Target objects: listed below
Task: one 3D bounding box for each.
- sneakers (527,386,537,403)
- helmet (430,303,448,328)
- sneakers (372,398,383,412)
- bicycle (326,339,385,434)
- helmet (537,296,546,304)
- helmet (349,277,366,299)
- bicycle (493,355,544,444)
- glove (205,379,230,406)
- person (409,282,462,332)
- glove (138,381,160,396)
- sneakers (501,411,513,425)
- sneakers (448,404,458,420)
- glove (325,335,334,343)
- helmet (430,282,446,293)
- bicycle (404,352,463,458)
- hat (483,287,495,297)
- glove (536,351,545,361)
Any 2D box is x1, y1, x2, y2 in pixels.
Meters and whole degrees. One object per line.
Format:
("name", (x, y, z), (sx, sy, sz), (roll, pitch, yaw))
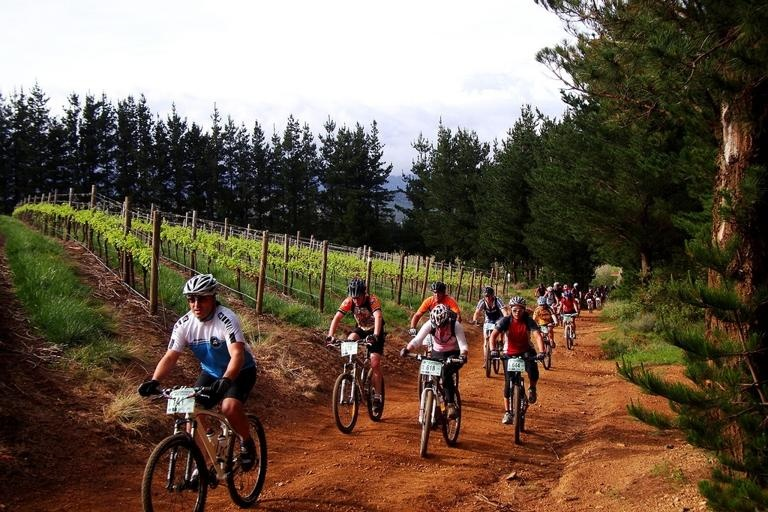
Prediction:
("sneakers", (2.952, 2.740, 11.124), (0.143, 0.201, 0.462), (-5, 0, 15))
("helmet", (1.018, 1.080, 10.103), (0.345, 0.395, 0.331), (1, 1, -1))
("sneakers", (-0.125, 3.013, 11.337), (0.174, 0.279, 0.255), (6, 32, -3))
("bicycle", (-0.682, 2.537, 11.275), (0.852, 1.280, 1.902), (-4, -8, 14))
("helmet", (4.579, 1.286, 16.152), (0.180, 0.261, 0.248), (7, 0, 1))
("helmet", (-0.527, 0.587, 11.053), (0.257, 0.382, 0.394), (-2, 34, 3))
("bicycle", (2.603, 2.684, 10.840), (0.891, 1.619, 0.814), (0, 1, -33))
("glove", (-2.109, 1.765, 7.134), (0.342, 0.148, 0.250), (-45, 16, -9))
("person", (1.092, 1.087, 11.687), (1.071, 0.915, 1.618), (-2, 7, 18))
("glove", (-3.007, 1.685, 7.126), (0.223, 0.234, 0.282), (0, 1, -23))
("sneakers", (2.353, 3.097, 10.707), (0.167, 0.261, 0.520), (-1, -10, 8))
("sneakers", (1.240, 2.778, 10.029), (0.084, 0.273, 0.355), (1, 1, 36))
("glove", (-1.045, 1.614, 10.801), (0.232, 0.143, 0.122), (0, 1, -38))
("helmet", (1.151, 0.633, 11.686), (0.205, 0.297, 0.296), (2, -12, 2))
("bicycle", (0.956, 2.609, 10.047), (0.875, 1.687, 1.151), (1, 1, 25))
("hat", (2.864, 0.970, 15.136), (0.207, 0.330, 0.282), (-2, 23, 6))
("glove", (2.984, 1.930, 10.652), (0.166, 0.118, 0.247), (-1, -5, -6))
